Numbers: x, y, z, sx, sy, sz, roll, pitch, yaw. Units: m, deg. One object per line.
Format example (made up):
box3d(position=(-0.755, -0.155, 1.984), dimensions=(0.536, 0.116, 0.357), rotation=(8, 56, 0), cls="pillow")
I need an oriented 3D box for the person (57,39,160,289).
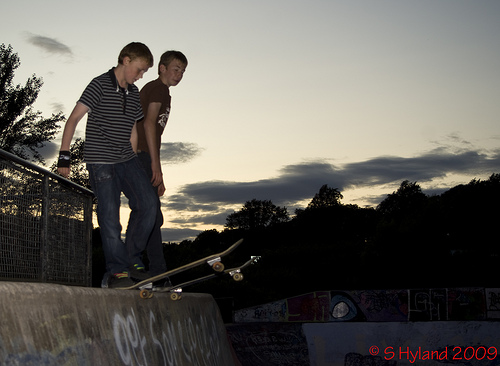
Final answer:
box3d(position=(-1.126, -0.154, 4.437), dimensions=(0.523, 2.044, 1.046), rotation=(0, -8, 24), cls="person")
